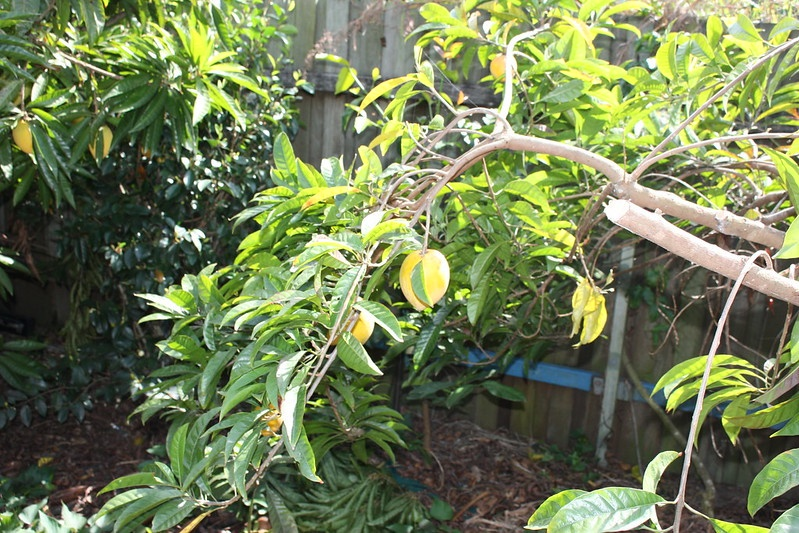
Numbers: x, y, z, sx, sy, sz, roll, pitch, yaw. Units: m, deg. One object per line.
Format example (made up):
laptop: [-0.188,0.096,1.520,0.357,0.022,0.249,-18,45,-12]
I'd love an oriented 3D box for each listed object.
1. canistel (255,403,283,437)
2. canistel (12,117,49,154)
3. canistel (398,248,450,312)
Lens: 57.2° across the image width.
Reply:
canistel: [-0.419,0.508,2.488,0.050,0.129,0.127,18,-19,-27]
canistel: [-1.647,-0.573,3.283,0.109,0.153,0.117,-2,-5,18]
canistel: [0.108,0.043,2.427,0.126,0.159,0.140,5,5,-6]
